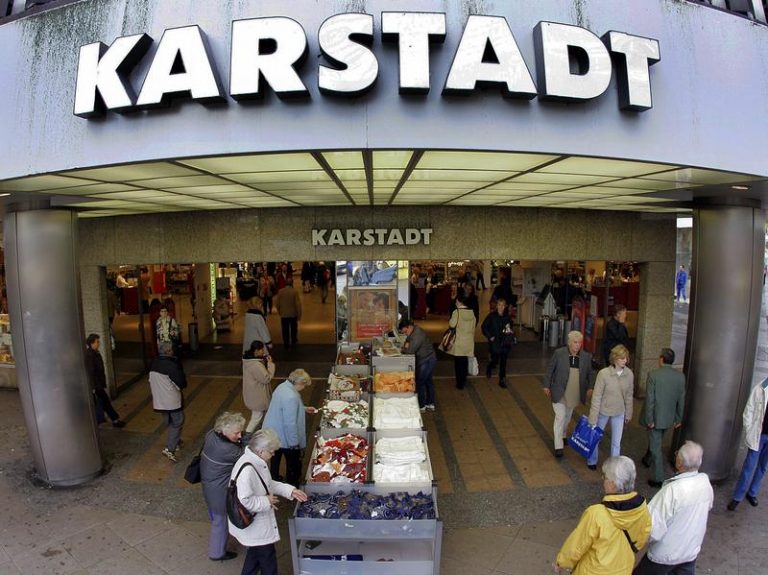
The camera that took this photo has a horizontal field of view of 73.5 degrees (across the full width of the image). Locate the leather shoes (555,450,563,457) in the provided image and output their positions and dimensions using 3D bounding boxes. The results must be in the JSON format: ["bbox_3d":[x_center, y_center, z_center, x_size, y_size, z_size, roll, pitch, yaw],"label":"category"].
[{"bbox_3d":[3.112,2.936,9.216,0.139,0.155,0.090,1,2,14],"label":"leather shoes"}]

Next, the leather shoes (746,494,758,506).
[{"bbox_3d":[5.633,3.229,7.913,0.072,0.096,0.214,-4,5,6],"label":"leather shoes"}]

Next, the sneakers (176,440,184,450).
[{"bbox_3d":[-3.735,2.871,9.511,0.103,0.119,0.188,-2,30,2],"label":"sneakers"}]

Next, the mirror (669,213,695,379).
[{"bbox_3d":[6.826,-0.034,11.971,0.351,3.557,0.357,5,-6,-17],"label":"mirror"}]

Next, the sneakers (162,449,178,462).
[{"bbox_3d":[-3.809,2.975,9.191,0.267,0.115,0.085,43,-14,-14],"label":"sneakers"}]

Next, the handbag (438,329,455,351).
[{"bbox_3d":[1.493,1.248,11.999,0.349,0.623,0.175,15,5,17],"label":"handbag"}]

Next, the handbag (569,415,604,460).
[{"bbox_3d":[3.305,2.461,8.520,0.191,0.625,0.449,-1,27,-41],"label":"handbag"}]

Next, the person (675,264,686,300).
[{"bbox_3d":[6.731,-0.096,11.705,0.239,0.761,0.516,2,6,31],"label":"person"}]

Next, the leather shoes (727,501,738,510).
[{"bbox_3d":[5.229,3.259,7.748,0.080,0.098,0.233,-16,-1,21],"label":"leather shoes"}]
